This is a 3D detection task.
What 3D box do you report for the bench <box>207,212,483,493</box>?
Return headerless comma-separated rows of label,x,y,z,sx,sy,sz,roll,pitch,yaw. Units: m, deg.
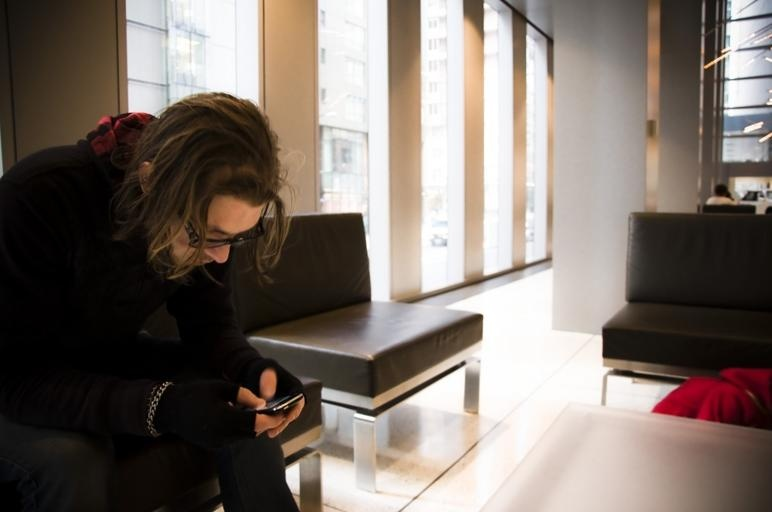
bench,-0.128,0.334,2.848,0.915,1.064,1.200,0,5,25
